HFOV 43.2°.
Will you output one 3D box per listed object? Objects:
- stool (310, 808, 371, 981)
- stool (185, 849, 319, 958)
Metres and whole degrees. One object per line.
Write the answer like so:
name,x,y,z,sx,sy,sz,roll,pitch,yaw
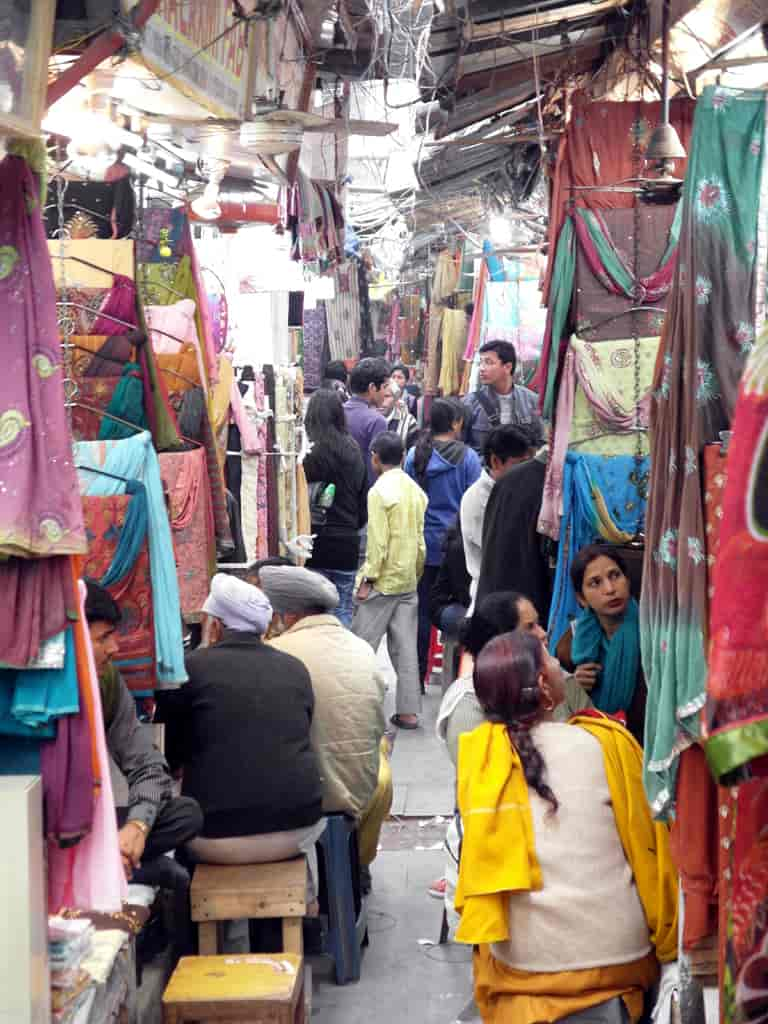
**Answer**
stool,-0.160,1.448,3.691,0.186,0.569,0.373,-1,6,-2
stool,-0.439,1.214,3.175,0.301,0.384,0.291,-1,-1,-3
